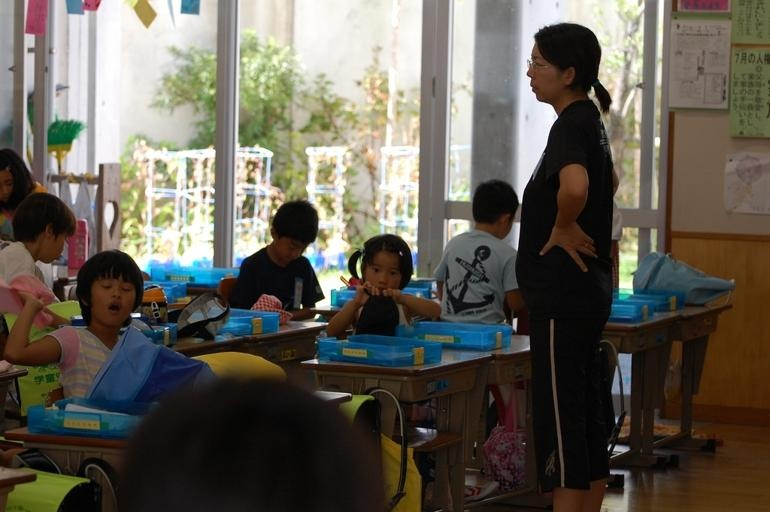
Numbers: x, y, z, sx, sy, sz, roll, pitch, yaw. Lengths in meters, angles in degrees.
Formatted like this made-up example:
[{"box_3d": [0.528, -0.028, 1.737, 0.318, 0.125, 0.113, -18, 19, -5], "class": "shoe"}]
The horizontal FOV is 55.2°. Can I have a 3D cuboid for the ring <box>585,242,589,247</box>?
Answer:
[{"box_3d": [0.655, -0.040, 2.393, 0.009, 0.012, 0.029, 1, -12, 11], "class": "ring"}]

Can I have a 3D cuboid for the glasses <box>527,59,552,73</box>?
[{"box_3d": [0.530, -0.651, 2.515, 0.074, 0.023, 0.073, 8, 10, -12], "class": "glasses"}]

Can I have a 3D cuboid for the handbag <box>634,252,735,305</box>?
[{"box_3d": [1.711, 0.138, 4.283, 0.498, 0.219, 0.325, 20, 7, 7], "class": "handbag"}]

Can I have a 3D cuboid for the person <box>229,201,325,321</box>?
[{"box_3d": [-0.598, 0.021, 4.195, 0.381, 0.720, 0.703, 17, 15, 41], "class": "person"}]

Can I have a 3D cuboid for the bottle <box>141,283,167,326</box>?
[{"box_3d": [-0.951, 0.199, 3.027, 0.117, 0.201, 0.150, -2, 2, -5], "class": "bottle"}]
